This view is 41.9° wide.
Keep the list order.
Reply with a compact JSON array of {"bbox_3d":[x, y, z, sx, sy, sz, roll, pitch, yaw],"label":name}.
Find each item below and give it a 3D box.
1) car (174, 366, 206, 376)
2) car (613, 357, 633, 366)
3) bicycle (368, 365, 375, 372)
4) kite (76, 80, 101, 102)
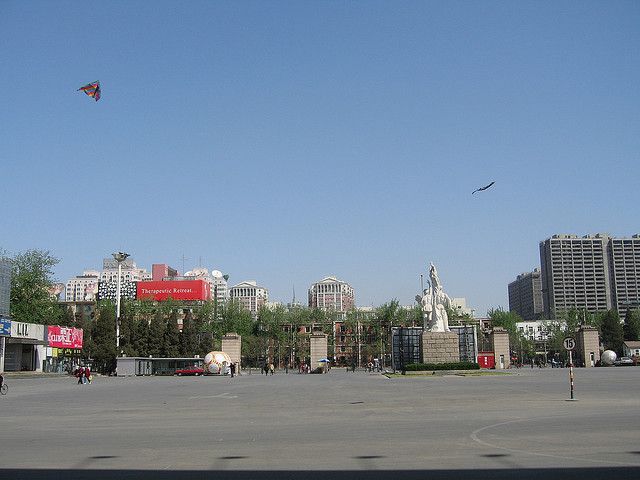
[{"bbox_3d":[-13.124,13.310,84.739,2.315,0.751,1.124,5,-13,-2],"label":"car"},{"bbox_3d":[34.611,13.940,95.818,1.509,0.954,2.795,-1,0,13],"label":"car"},{"bbox_3d":[6.064,15.438,100.303,0.759,0.831,1.267,1,1,9],"label":"bicycle"},{"bbox_3d":[-11.656,-7.666,43.072,0.596,0.901,0.915,-6,-11,22],"label":"kite"}]
